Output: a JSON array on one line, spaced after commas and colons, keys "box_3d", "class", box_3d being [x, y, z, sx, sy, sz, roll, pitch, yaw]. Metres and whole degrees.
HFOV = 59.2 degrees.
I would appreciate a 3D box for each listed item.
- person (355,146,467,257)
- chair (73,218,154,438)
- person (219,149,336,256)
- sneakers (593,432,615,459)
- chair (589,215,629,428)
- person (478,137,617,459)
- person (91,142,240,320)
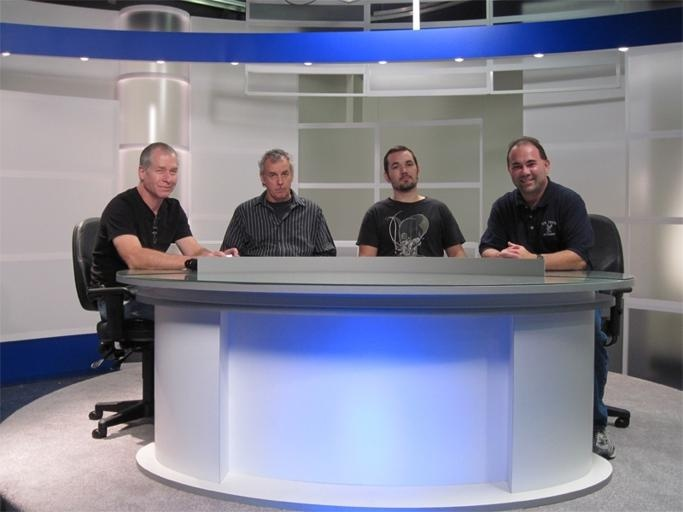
[{"box_3d": [0.653, -0.496, 5.214, 1.056, 1.119, 0.627, -3, 1, 7], "class": "person"}, {"box_3d": [-1.444, 0.441, 3.824, 0.445, 1.351, 0.812, -2, 5, -24], "class": "chair"}, {"box_3d": [-0.463, -0.362, 4.494, 0.889, 0.860, 0.497, 0, 11, -11], "class": "person"}, {"box_3d": [1.440, 1.032, 3.313, 0.097, 0.146, 0.066, -10, -18, 5], "class": "sneakers"}, {"box_3d": [1.692, 0.408, 3.797, 0.284, 1.333, 0.566, 2, 5, 25], "class": "chair"}, {"box_3d": [1.309, 0.131, 3.825, 0.760, 1.877, 1.051, 0, 5, 5], "class": "person"}, {"box_3d": [-1.222, -0.005, 4.110, 1.006, 1.509, 0.864, 7, 6, 34], "class": "person"}]
